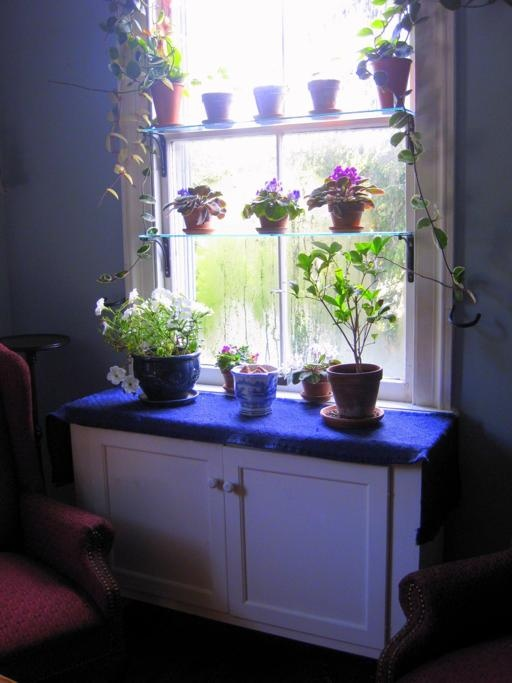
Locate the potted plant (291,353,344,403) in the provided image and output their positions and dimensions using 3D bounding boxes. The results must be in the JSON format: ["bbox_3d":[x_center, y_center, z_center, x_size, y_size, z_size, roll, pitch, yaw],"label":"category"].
[{"bbox_3d":[0.190,0.112,1.953,0.152,0.145,0.152,-1,14,4],"label":"potted plant"}]

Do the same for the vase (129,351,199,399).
[{"bbox_3d":[-0.276,0.085,1.978,0.172,0.115,0.169,-3,3,-34],"label":"vase"}]

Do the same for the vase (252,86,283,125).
[{"bbox_3d":[0.013,-0.745,1.947,0.104,0.111,0.104,-10,22,-22],"label":"vase"}]

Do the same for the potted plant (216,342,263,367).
[{"bbox_3d":[-0.062,0.048,2.150,0.093,0.043,0.095,11,16,32],"label":"potted plant"}]

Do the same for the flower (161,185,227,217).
[{"bbox_3d":[-0.202,-0.468,2.075,0.156,0.113,0.153,3,12,27],"label":"flower"}]

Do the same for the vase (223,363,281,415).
[{"bbox_3d":[-0.004,0.145,1.914,0.145,0.143,0.147,3,5,30],"label":"vase"}]

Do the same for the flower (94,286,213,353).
[{"bbox_3d":[-0.322,-0.064,2.029,0.321,0.208,0.200,1,11,19],"label":"flower"}]

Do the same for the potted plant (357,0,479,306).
[{"bbox_3d":[0.427,-0.537,1.815,0.265,0.984,0.395,-7,11,-22],"label":"potted plant"}]

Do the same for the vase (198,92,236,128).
[{"bbox_3d":[-0.123,-0.763,2.052,0.101,0.097,0.100,12,18,43],"label":"vase"}]

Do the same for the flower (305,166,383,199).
[{"bbox_3d":[0.279,-0.445,1.831,0.151,0.064,0.147,0,0,-36],"label":"flower"}]

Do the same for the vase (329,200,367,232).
[{"bbox_3d":[0.268,-0.369,1.814,0.087,0.070,0.088,3,14,24],"label":"vase"}]

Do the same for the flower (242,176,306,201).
[{"bbox_3d":[0.058,-0.476,1.952,0.120,0.073,0.094,-9,12,-32],"label":"flower"}]

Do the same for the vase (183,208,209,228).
[{"bbox_3d":[-0.194,-0.405,2.038,0.067,0.056,0.070,-2,10,-8],"label":"vase"}]

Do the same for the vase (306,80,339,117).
[{"bbox_3d":[0.201,-0.724,1.882,0.105,0.100,0.100,-6,9,-32],"label":"vase"}]
